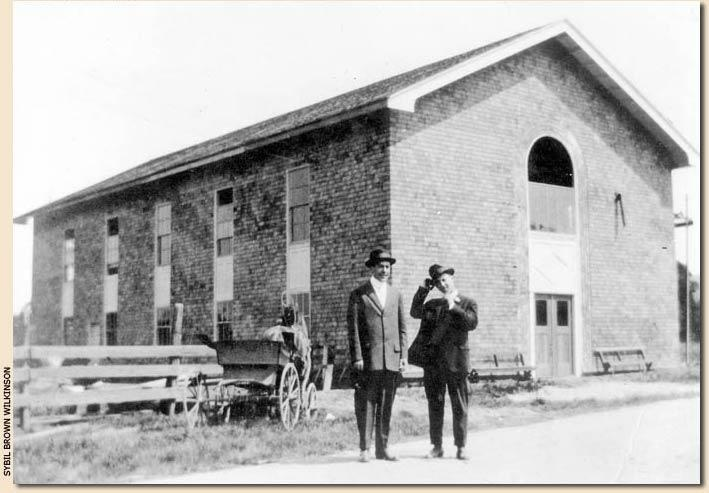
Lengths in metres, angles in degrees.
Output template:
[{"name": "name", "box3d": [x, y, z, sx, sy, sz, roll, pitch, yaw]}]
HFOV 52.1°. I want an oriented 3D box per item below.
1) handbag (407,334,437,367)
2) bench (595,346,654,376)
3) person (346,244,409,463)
[{"name": "handbag", "box3d": [0.997, 1.569, 10.828, 0.119, 0.448, 0.397, 14, -10, -43]}, {"name": "bench", "box3d": [6.236, 2.649, 16.860, 1.405, 0.584, 0.380, 2, 11, -14]}, {"name": "person", "box3d": [0.317, 1.619, 10.719, 0.883, 3.087, 0.757, 3, 10, -3]}]
